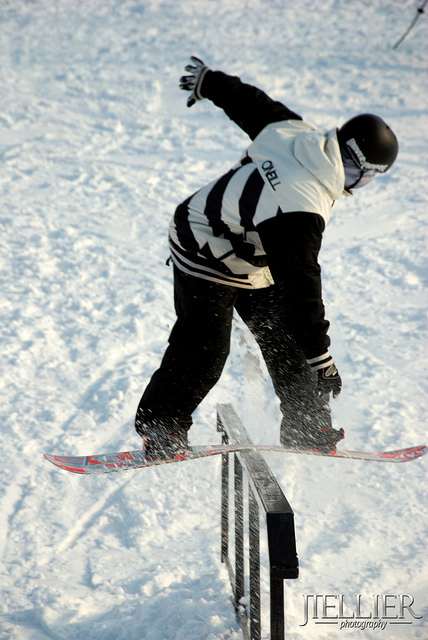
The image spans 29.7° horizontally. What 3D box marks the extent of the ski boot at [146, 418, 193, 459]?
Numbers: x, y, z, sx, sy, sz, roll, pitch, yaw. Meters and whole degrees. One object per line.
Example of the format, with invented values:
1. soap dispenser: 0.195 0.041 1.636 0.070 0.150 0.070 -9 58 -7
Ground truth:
1. ski boot: -0.260 0.650 4.399 0.241 0.190 0.174 -3 54 3

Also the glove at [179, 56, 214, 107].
1. glove: -0.100 -1.334 4.576 0.197 0.285 0.309 -9 53 0

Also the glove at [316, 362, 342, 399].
1. glove: 0.605 0.319 4.265 0.132 0.299 0.082 -8 56 1

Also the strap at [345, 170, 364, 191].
1. strap: 0.742 -0.720 4.217 0.028 0.215 0.030 38 63 7
